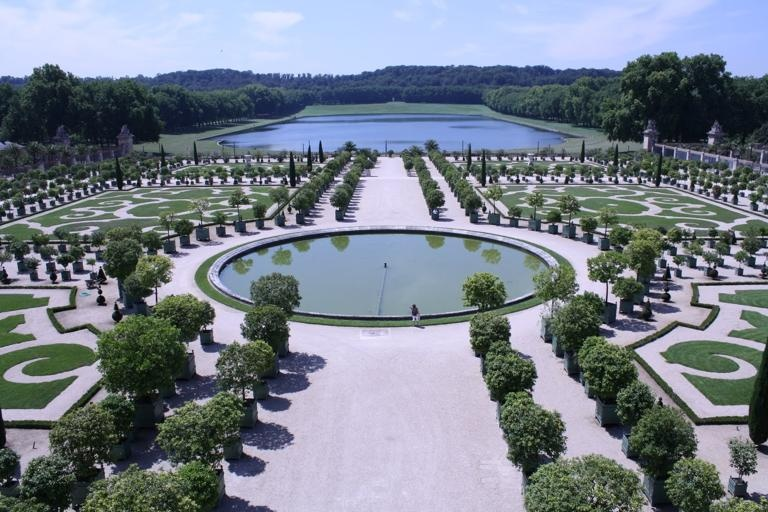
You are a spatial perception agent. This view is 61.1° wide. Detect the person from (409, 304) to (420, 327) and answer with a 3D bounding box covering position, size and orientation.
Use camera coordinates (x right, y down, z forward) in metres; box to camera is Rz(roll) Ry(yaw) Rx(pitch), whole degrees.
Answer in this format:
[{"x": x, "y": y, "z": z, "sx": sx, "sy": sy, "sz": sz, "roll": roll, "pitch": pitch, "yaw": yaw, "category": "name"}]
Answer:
[{"x": 2.566, "y": 4.674, "z": 51.448, "sx": 0.787, "sy": 1.404, "sz": 1.130, "roll": 1, "pitch": 19, "yaw": 3, "category": "person"}]
